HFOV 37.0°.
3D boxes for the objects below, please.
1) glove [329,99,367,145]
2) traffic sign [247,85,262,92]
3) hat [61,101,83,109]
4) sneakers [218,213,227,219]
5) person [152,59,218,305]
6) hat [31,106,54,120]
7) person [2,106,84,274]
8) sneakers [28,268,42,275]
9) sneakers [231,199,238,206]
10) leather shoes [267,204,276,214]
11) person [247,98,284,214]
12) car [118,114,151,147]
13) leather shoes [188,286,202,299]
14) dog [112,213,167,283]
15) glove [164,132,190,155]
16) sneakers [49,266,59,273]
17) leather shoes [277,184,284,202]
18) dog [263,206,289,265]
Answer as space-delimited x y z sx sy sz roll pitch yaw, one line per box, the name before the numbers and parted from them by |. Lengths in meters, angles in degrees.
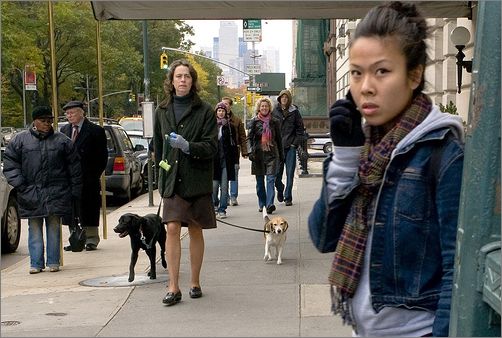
glove | 0.496 -0.223 3.891 0.150 0.259 0.095 -5 16 6
traffic sign | 0.166 -4.205 38.996 0.439 0.281 1.445 -6 6 -26
hat | -2.571 -0.939 10.863 0.171 0.056 0.169 -4 1 19
sneakers | -0.500 0.803 12.866 0.090 0.093 0.242 0 -3 -9
person | -0.700 0.106 7.728 0.801 2.479 0.633 -6 6 -30
hat | -2.700 -0.741 9.629 0.243 0.123 0.170 -12 -10 31
person | -2.671 0.245 9.578 0.961 2.091 0.621 -5 6 -14
sneakers | -2.715 1.280 9.346 0.057 0.072 0.173 -4 -20 -1
sneakers | -0.340 0.660 14.798 0.119 0.155 0.362 0 -4 -2
leather shoes | 0.346 0.697 12.972 0.079 0.214 0.085 8 34 -23
person | 0.259 -0.236 13.234 0.650 2.054 0.818 -3 5 2
car | -4.082 -1.162 26.067 1.360 1.261 2.346 0 8 -5
leather shoes | -0.580 1.281 7.742 0.117 0.083 0.261 0 -3 -3
dog | -1.242 0.884 8.794 0.369 0.760 1.261 -4 1 10
glove | -0.737 -0.260 7.511 0.120 0.096 0.202 20 0 13
sneakers | -2.502 1.258 9.471 0.128 0.075 0.161 -5 6 -16
leather shoes | 0.568 0.460 14.459 0.113 0.332 0.234 2 1 20
dog | 0.302 0.917 9.660 0.284 0.599 1.141 2 -7 -6
